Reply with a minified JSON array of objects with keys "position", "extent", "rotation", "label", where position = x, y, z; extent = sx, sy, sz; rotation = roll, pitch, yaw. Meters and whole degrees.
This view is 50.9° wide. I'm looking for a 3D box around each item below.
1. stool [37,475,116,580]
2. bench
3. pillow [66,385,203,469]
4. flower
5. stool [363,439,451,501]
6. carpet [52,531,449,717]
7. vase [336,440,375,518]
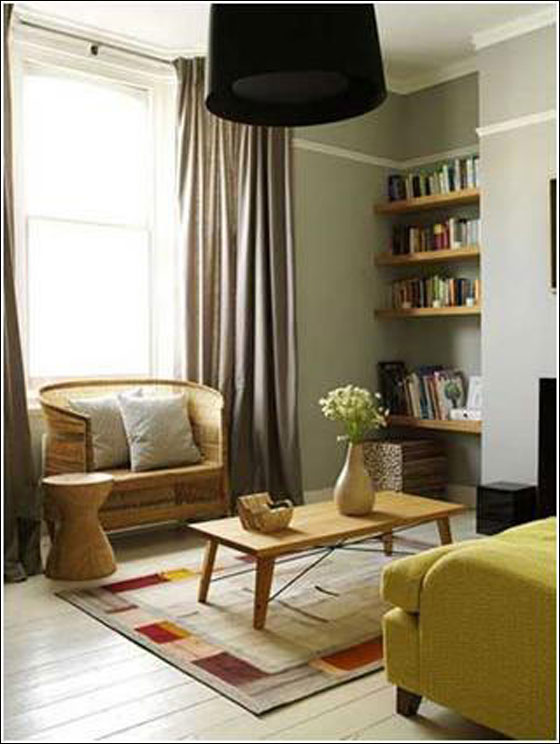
[{"position":[-0.934,0.707,2.748],"extent":[0.288,0.456,0.308],"rotation":[3,3,31],"label":"stool"},{"position":[-0.803,0.469,3.292],"extent":[0.883,0.822,0.523],"rotation":[-3,0,-40],"label":"bench"},{"position":[-0.799,0.326,3.303],"extent":[0.480,0.522,0.153],"rotation":[1,-27,-30],"label":"pillow"},{"position":[0.314,0.189,2.575],"extent":[0.210,0.263,0.214],"rotation":[4,17,5],"label":"flower"},{"position":[0.932,0.574,4.213],"extent":[0.511,0.467,0.393],"rotation":[2,6,38],"label":"stool"},{"position":[-0.025,0.958,2.409],"extent":[1.043,0.006,1.503],"rotation":[6,-5,38],"label":"carpet"},{"position":[0.319,0.452,2.483],"extent":[0.164,0.304,0.164],"rotation":[-4,4,-38],"label":"vase"}]
